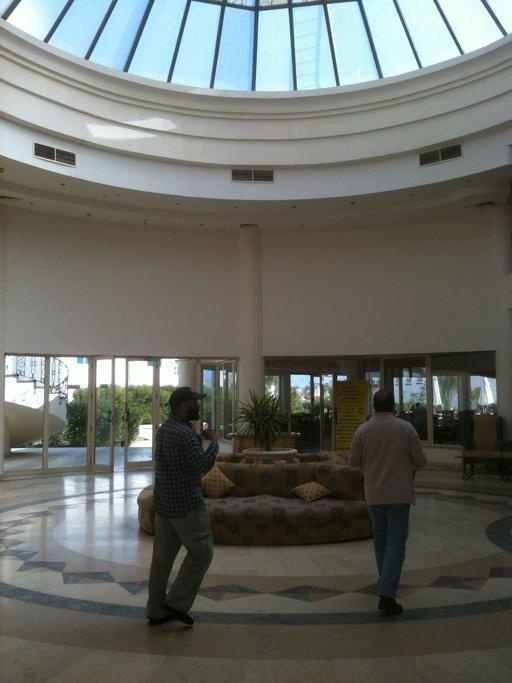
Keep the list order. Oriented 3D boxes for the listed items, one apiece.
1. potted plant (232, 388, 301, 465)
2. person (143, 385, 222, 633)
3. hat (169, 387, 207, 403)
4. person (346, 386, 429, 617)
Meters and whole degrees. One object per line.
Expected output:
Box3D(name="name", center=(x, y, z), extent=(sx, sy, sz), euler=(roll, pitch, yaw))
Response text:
Box3D(name="potted plant", center=(0.175, 1.174, 7.684), extent=(0.637, 0.863, 0.664), euler=(6, -8, -23))
Box3D(name="person", center=(-0.431, 0.953, 3.131), extent=(0.320, 1.368, 0.451), euler=(9, -13, -43))
Box3D(name="hat", center=(-0.401, 0.314, 3.218), extent=(0.186, 0.096, 0.120), euler=(-6, 2, -14))
Box3D(name="person", center=(0.827, 1.064, 3.389), extent=(0.471, 1.229, 0.263), euler=(-3, -10, 16))
